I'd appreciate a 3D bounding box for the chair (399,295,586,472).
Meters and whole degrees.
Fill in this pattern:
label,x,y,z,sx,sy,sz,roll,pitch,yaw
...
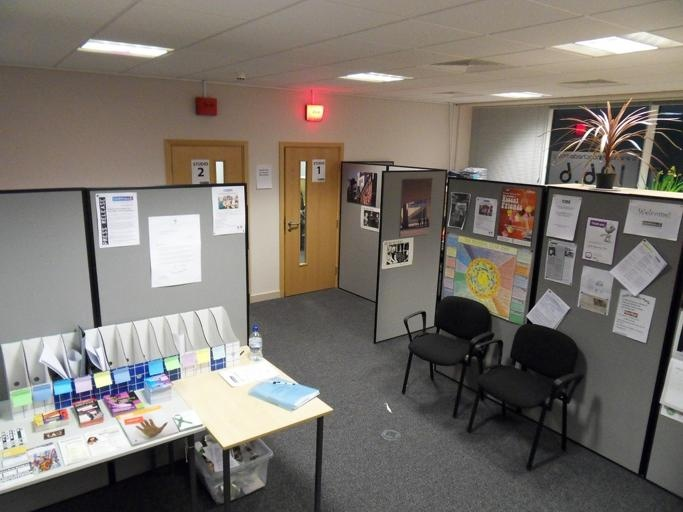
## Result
label,x,y,z,sx,sy,sz,roll,pitch,yaw
chair,1.341,1.016,4.087,0.701,1.033,1.401,-13,17,-40

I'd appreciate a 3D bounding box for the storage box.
label,x,y,z,sx,sy,sz,roll,pitch,yaw
storage box,-0.851,1.499,3.439,0.378,0.213,0.480,-5,12,-30
